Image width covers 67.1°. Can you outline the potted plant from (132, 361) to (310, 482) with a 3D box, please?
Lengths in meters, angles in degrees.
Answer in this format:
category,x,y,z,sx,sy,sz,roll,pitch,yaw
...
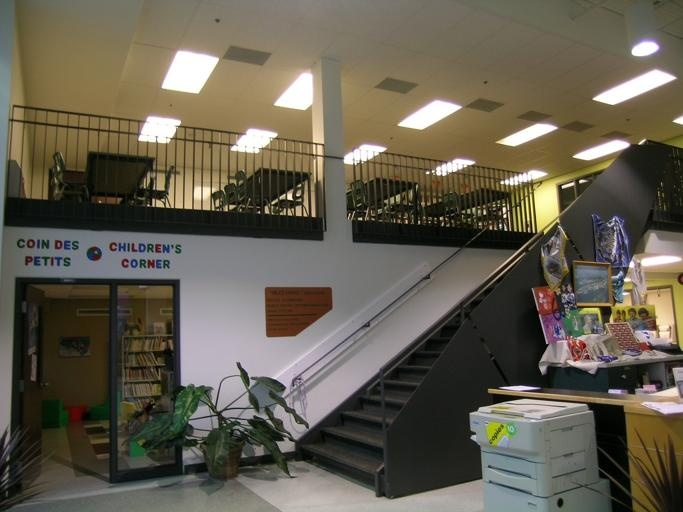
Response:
category,x,y,z,sx,sy,sz,roll,pitch,yaw
potted plant,-1.643,2.573,7.855,1.806,1.266,1.934,0,-9,12

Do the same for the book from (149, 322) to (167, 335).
category,x,y,z,sx,sy,sz,roll,pitch,yaw
book,-2.833,1.146,7.943,0.257,0.206,0.060,1,-7,-18

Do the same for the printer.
category,x,y,z,sx,sy,sz,roll,pitch,yaw
printer,2.111,2.079,5.582,1.120,0.930,1.184,-9,-9,42

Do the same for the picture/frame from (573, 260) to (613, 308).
category,x,y,z,sx,sy,sz,roll,pitch,yaw
picture/frame,4.420,0.528,9.006,0.848,0.777,0.070,2,-6,-20

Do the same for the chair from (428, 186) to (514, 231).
category,x,y,z,sx,sy,sz,roll,pitch,yaw
chair,2.836,-0.972,10.910,1.837,0.870,1.195,1,-7,-14
